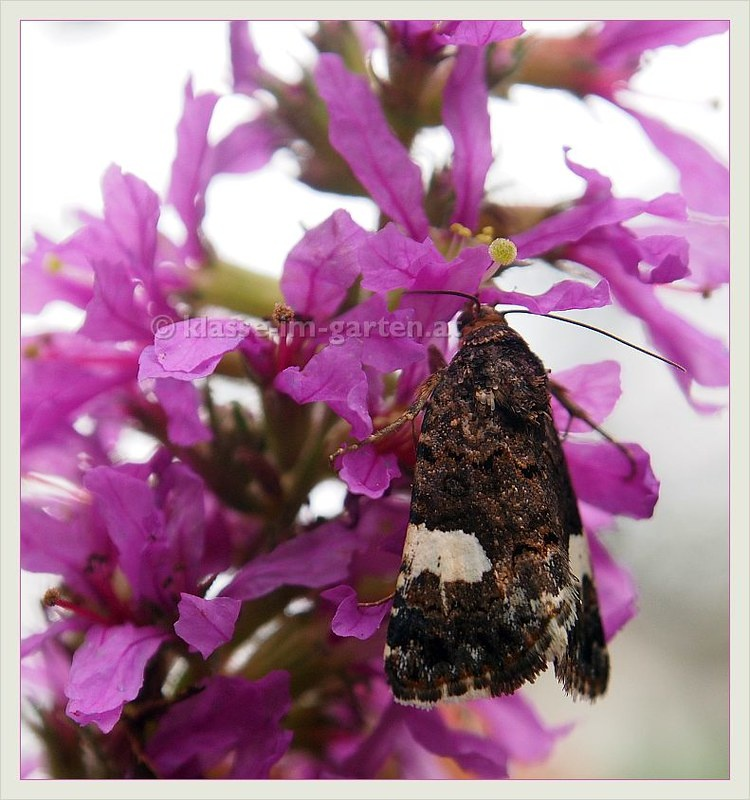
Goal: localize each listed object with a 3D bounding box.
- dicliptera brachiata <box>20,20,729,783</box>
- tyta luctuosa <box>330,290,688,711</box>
[{"bbox_3d":[-0.062,0.045,1.162,0.671,0.979,0.510,-4,12,-17],"label":"dicliptera brachiata"},{"bbox_3d":[0.105,0.124,1.059,0.273,0.453,0.295,-12,34,-13],"label":"tyta luctuosa"}]
